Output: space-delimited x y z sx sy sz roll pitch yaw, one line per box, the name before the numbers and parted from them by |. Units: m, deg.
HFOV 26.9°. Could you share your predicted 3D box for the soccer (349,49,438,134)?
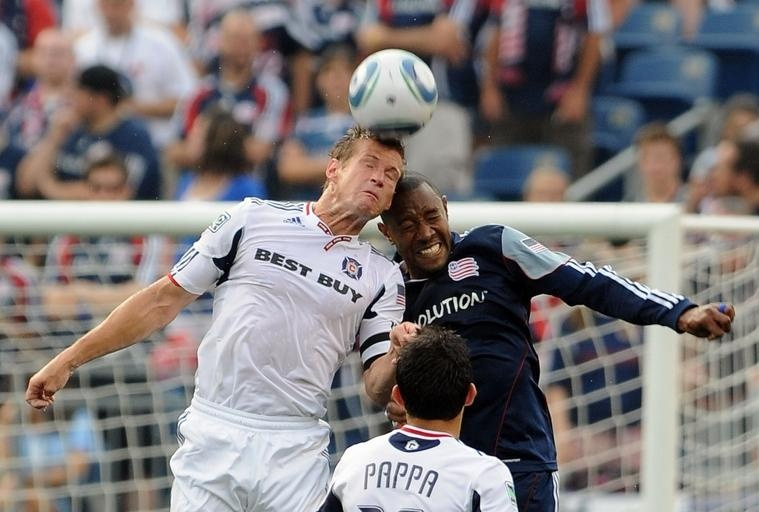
soccer | 0.119 -1.345 13.190 0.798 0.777 0.774 -5 10 14
